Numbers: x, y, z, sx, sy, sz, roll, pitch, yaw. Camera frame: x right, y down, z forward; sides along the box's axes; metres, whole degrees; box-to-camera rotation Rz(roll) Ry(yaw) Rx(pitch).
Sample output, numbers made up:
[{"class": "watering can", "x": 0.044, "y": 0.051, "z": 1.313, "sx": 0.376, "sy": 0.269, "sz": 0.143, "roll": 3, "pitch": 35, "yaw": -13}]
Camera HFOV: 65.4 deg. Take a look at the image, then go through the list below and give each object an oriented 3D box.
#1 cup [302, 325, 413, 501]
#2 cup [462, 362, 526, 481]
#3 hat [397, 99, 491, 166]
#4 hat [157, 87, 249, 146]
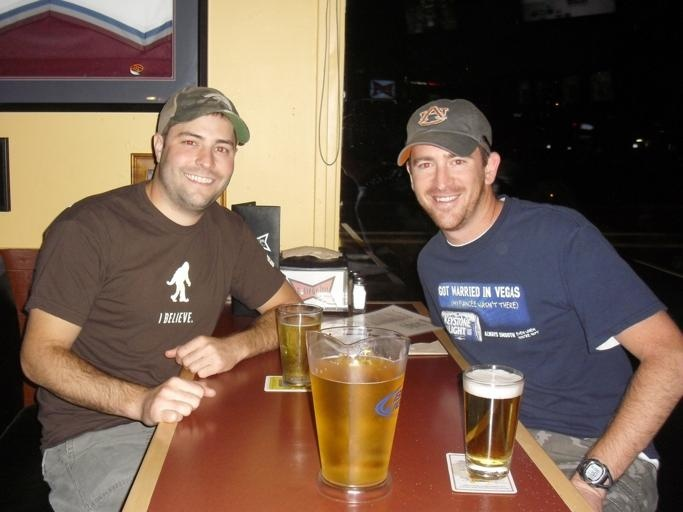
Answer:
[{"class": "cup", "x": 0.040, "y": 0.301, "z": 1.035, "sx": 0.194, "sy": 0.299, "sz": 0.131, "roll": -4, "pitch": 13, "yaw": -4}, {"class": "cup", "x": 0.308, "y": 0.338, "z": 1.090, "sx": 0.117, "sy": 0.196, "sz": 0.125, "roll": -2, "pitch": 13, "yaw": 1}, {"class": "hat", "x": 0.370, "y": -0.455, "z": 1.916, "sx": 0.305, "sy": 0.213, "sz": 0.411, "roll": 4, "pitch": 5, "yaw": 38}, {"class": "hat", "x": -0.519, "y": -0.551, "z": 2.002, "sx": 0.289, "sy": 0.195, "sz": 0.371, "roll": -5, "pitch": -1, "yaw": -35}]
